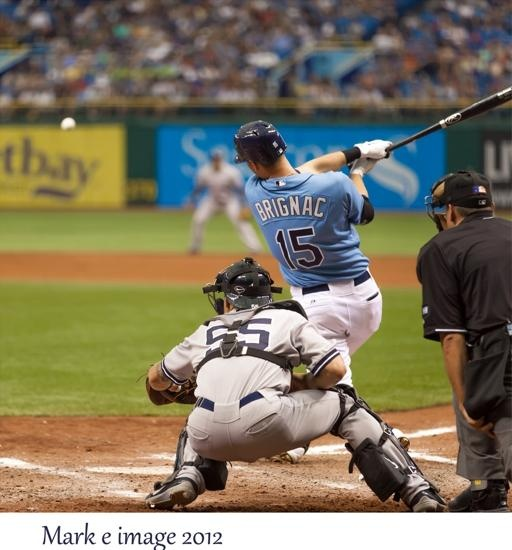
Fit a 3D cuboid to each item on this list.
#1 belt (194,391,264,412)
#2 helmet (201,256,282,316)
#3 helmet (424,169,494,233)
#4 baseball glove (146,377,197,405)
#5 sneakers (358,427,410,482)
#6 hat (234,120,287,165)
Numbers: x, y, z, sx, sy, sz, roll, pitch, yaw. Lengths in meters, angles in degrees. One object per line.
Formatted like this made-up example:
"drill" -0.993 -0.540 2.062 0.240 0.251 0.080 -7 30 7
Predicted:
"belt" -0.139 0.574 4.409 0.334 0.088 0.071 -1 3 21
"helmet" -0.083 0.055 4.737 0.417 0.251 0.324 -1 12 -7
"helmet" 0.990 -0.377 4.771 0.261 0.294 0.416 -5 3 -34
"baseball glove" -0.456 0.610 4.958 0.258 0.138 0.080 13 -31 6
"sneakers" 0.772 0.964 5.358 0.174 0.340 0.306 -23 -22 17
"hat" -0.016 -0.713 5.010 0.228 0.142 0.279 -30 38 -12
